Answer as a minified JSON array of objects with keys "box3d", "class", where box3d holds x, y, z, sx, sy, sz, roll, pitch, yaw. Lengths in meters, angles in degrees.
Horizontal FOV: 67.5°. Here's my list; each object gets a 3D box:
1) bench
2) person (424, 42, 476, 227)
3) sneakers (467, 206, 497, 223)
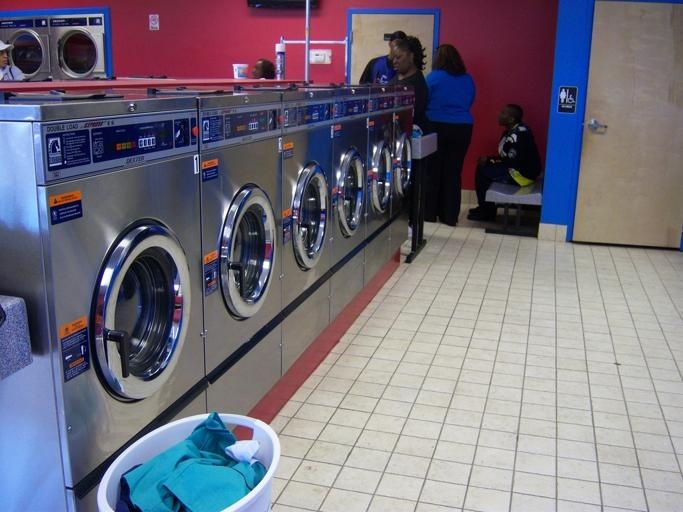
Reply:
[{"box3d":[2.116,-0.644,6.272,0.604,0.556,1.211,7,21,20],"class":"bench"},{"box3d":[1.222,-1.370,5.947,0.545,2.035,0.730,3,18,12],"class":"person"},{"box3d":[1.776,-0.541,6.462,0.256,0.085,0.213,5,40,4],"class":"sneakers"}]
